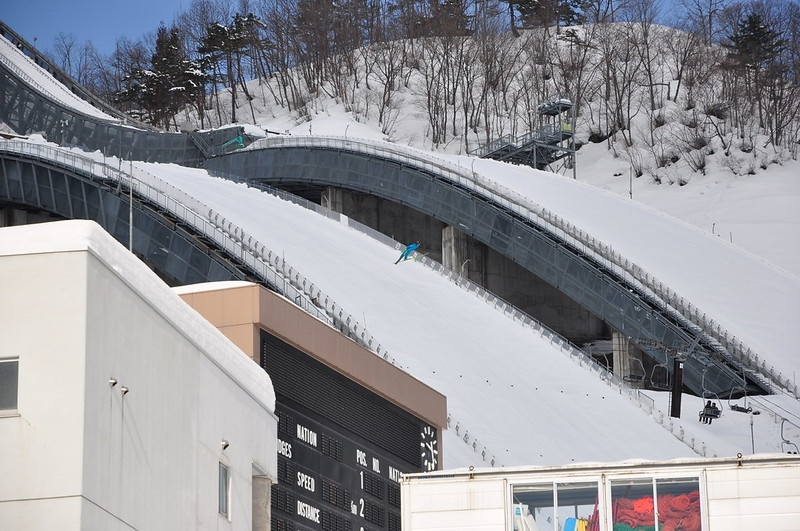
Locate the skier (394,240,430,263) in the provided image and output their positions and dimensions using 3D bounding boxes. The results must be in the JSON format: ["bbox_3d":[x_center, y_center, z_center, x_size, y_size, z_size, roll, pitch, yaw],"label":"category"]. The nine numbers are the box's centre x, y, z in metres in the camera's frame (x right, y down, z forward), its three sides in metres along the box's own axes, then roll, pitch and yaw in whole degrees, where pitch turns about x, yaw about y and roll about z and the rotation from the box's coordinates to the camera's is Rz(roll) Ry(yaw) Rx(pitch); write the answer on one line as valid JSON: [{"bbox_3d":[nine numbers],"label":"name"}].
[{"bbox_3d":[0.943,-1.145,117.329,0.768,1.207,2.623,18,34,37],"label":"skier"}]
